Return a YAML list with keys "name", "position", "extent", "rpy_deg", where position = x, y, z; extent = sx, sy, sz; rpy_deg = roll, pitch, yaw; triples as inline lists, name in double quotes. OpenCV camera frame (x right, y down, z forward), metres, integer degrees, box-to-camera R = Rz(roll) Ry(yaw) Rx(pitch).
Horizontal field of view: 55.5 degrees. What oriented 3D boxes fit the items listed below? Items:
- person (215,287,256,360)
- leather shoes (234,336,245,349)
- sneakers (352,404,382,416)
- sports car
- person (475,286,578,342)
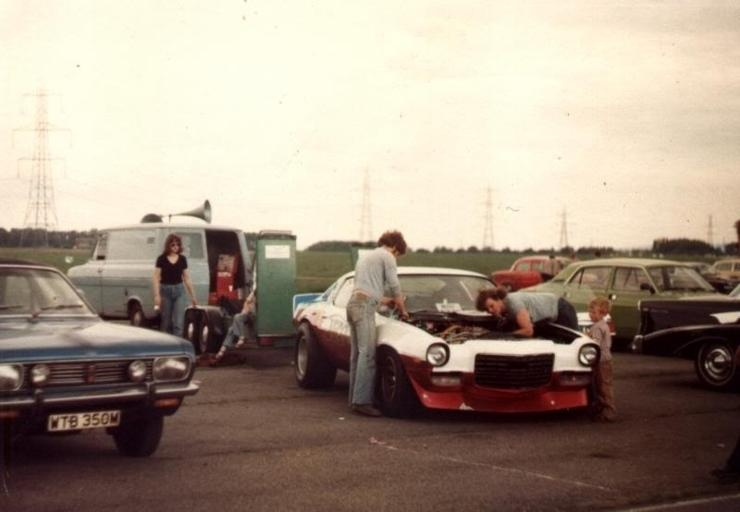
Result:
- name: "person"
  position: [-2.314, 1.203, 12.260]
  extent: [0.442, 1.273, 0.468]
  rpy_deg: [20, -6, 18]
- name: "leather shoes"
  position: [-2.257, 1.493, 12.224]
  extent: [0.106, 0.202, 0.306]
  rpy_deg: [0, -6, 11]
- name: "sneakers"
  position: [-0.048, 1.844, 8.480]
  extent: [0.376, 0.183, 0.135]
  rpy_deg: [1, -1, 5]
- name: "sports car"
  position: [0.592, 1.058, 9.064]
  extent: [1.818, 1.134, 3.175]
  rpy_deg: [1, -2, -28]
- name: "person"
  position: [1.933, 0.675, 8.687]
  extent: [0.961, 0.405, 0.685]
  rpy_deg: [3, -1, -4]
